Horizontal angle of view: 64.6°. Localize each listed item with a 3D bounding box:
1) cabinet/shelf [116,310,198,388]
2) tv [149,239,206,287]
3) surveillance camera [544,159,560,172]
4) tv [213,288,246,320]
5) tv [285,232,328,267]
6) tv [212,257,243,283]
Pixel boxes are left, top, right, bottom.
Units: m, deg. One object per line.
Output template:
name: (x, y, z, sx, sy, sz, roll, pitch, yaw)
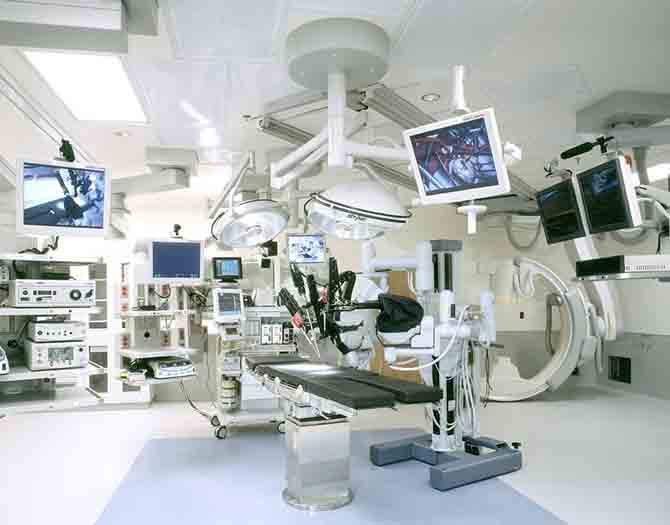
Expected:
cabinet/shelf: (-1.864, 0.905, 5.762, 0.923, 0.852, 1.024, 2, -4, -41)
tv: (-1.672, 0.000, 5.761, 0.772, 0.666, 0.412, 0, -2, -19)
surveillance camera: (1.936, -0.849, 4.736, 0.092, 0.151, 0.292, 0, -1, 26)
tv: (-1.161, 0.471, 5.839, 0.341, 0.356, 0.351, 0, 0, -17)
tv: (-0.343, -0.151, 6.287, 0.619, 0.548, 0.344, 0, -1, -8)
tv: (-1.239, 0.099, 6.185, 0.469, 0.377, 0.251, 1, -6, -28)
